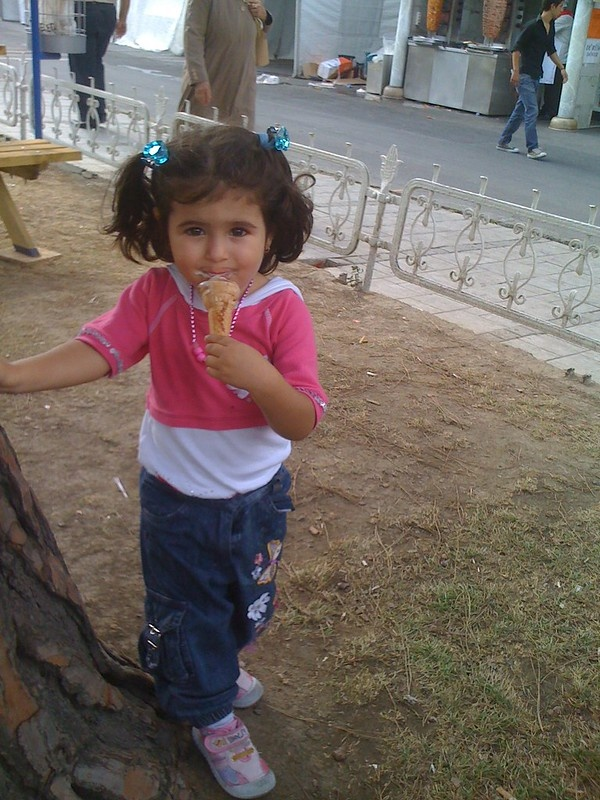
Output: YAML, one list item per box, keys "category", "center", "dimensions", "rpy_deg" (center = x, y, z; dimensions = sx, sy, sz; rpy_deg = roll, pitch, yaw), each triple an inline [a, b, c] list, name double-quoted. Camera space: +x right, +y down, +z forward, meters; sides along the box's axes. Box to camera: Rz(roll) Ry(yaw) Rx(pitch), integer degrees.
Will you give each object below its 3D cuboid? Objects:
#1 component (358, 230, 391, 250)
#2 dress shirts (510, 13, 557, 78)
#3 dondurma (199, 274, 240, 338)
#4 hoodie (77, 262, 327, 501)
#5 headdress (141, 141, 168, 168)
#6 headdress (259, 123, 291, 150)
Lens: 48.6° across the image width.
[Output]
- category: "component"
  center: [0.638, -1.335, 5.627]
  dimensions: [0.251, 0.129, 0.875]
  rpy_deg: [9, 17, 4]
- category: "dress shirts"
  center: [3.752, -5.562, 10.585]
  dimensions: [0.623, 0.866, 0.459]
  rpy_deg: [8, 19, -5]
- category: "dondurma"
  center: [-0.138, -0.144, 1.161]
  dimensions: [0.070, 0.145, 0.060]
  rpy_deg: [-5, -26, 0]
- category: "hoodie"
  center: [-0.183, -0.040, 1.373]
  dimensions: [0.494, 0.440, 0.231]
  rpy_deg: [11, 19, 8]
- category: "headdress"
  center: [-0.281, -0.480, 1.295]
  dimensions: [0.048, 0.048, 0.093]
  rpy_deg: [3, 18, -16]
- category: "headdress"
  center: [-0.043, -0.529, 1.338]
  dimensions: [0.036, 0.052, 0.078]
  rpy_deg: [-4, 9, 9]
